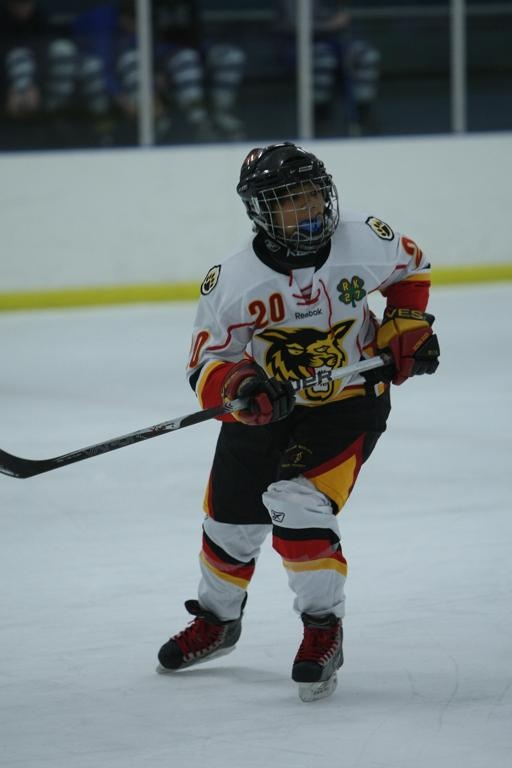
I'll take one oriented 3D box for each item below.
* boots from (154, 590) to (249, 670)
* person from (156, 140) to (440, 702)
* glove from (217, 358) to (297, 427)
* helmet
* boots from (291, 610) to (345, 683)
[{"bbox_3d":[-0.130,0.543,1.935,0.226,0.132,0.073,-1,8,-41],"label":"boots"},{"bbox_3d":[0.083,0.047,1.910,0.433,1.111,0.610,1,9,41],"label":"person"},{"bbox_3d":[-0.011,0.029,1.726,0.174,0.077,0.168,-6,6,-16],"label":"glove"},{"bbox_3d":[0.066,-0.394,1.857,0.188,0.189,0.226,-15,15,-19],"label":"helmet"},{"bbox_3d":[0.131,0.509,1.723,0.062,0.075,0.178,-4,0,11],"label":"boots"}]
